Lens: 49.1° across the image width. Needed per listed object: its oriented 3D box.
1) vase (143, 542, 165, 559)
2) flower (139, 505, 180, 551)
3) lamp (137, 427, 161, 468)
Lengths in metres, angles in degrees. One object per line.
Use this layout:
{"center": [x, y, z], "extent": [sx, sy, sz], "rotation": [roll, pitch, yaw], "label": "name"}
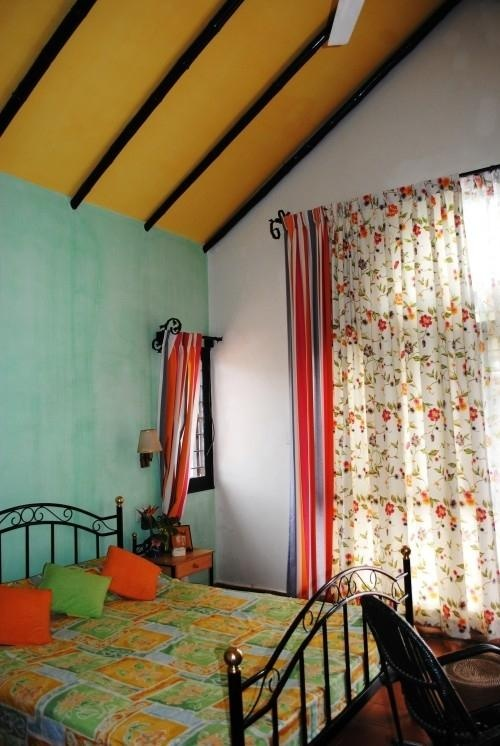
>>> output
{"center": [-0.658, 1.191, 3.715], "extent": [0.097, 0.109, 0.094], "rotation": [-5, -7, 39], "label": "vase"}
{"center": [-0.628, 1.076, 3.846], "extent": [0.257, 0.283, 0.264], "rotation": [0, 2, 42], "label": "flower"}
{"center": [-0.710, 0.537, 3.859], "extent": [0.146, 0.283, 0.428], "rotation": [2, -6, -11], "label": "lamp"}
